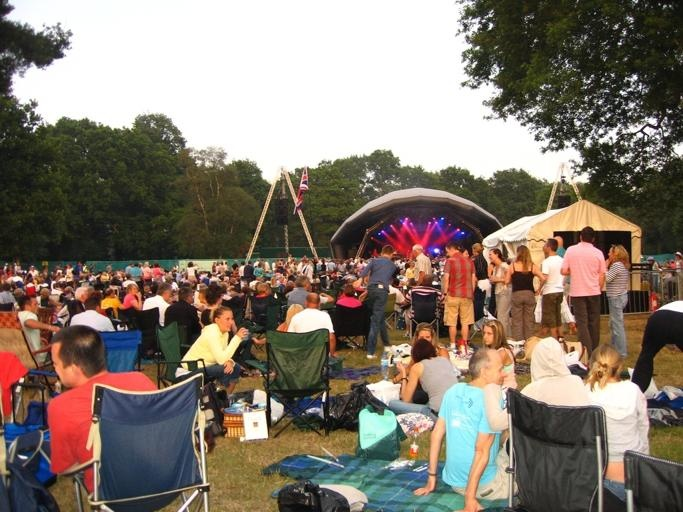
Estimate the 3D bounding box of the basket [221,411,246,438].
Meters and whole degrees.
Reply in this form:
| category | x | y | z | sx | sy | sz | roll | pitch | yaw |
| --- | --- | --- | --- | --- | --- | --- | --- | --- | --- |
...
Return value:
| category | x | y | z | sx | sy | sz | roll | pitch | yaw |
| --- | --- | --- | --- | --- | --- | --- | --- | --- | --- |
| basket | -1.353 | 2.114 | 8.874 | 0.261 | 0.306 | 0.278 | 0 | -1 | -5 |

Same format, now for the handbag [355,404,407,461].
| category | x | y | z | sx | sy | sz | roll | pitch | yaw |
| --- | --- | --- | --- | --- | --- | --- | --- | --- | --- |
| handbag | 0.434 | 2.028 | 8.054 | 0.486 | 0.552 | 0.482 | 0 | -9 | 3 |

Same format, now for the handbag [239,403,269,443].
| category | x | y | z | sx | sy | sz | roll | pitch | yaw |
| --- | --- | --- | --- | --- | --- | --- | --- | --- | --- |
| handbag | -1.053 | 2.087 | 8.765 | 0.260 | 0.367 | 0.096 | -3 | -21 | -13 |
